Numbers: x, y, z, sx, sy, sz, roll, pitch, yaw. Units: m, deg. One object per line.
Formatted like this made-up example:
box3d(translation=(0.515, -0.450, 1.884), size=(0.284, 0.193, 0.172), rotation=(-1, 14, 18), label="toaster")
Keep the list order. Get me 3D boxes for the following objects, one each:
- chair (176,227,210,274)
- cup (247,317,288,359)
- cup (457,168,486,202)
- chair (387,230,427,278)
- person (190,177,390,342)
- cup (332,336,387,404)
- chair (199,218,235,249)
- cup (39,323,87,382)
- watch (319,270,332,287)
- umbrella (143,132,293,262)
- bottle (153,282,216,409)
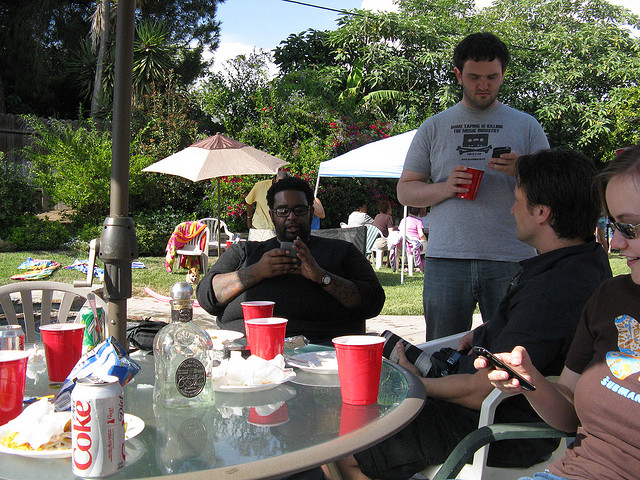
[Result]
box3d(translation=(-2.688, 0.161, 10.198), size=(0.777, 1.037, 0.845), rotation=(0, 0, 4), label="chair")
box3d(translation=(-0.207, 0.384, 1.962), size=(0.151, 0.122, 0.153), rotation=(2, -7, 0), label="cup")
box3d(translation=(0.923, -0.358, 3.095), size=(0.124, 0.193, 0.141), rotation=(10, 17, -18), label="cup")
box3d(translation=(1.935, 0.209, 11.023), size=(0.895, 0.963, 0.858), rotation=(-8, 20, -14), label="chair")
box3d(translation=(-0.200, 0.121, 3.148), size=(1.128, 0.984, 0.718), rotation=(-2, -6, 6), label="person")
box3d(translation=(0.130, 0.439, 1.693), size=(0.218, 0.199, 0.216), rotation=(0, -8, 0), label="cup")
box3d(translation=(-2.566, -0.216, 12.184), size=(0.895, 1.190, 0.891), rotation=(0, 1, -18), label="chair")
box3d(translation=(-0.911, 0.397, 1.771), size=(0.156, 0.166, 0.155), rotation=(-3, -9, -1), label="cup")
box3d(translation=(0.028, 0.218, 2.808), size=(0.057, 0.088, 0.079), rotation=(33, -26, -25), label="watch")
box3d(translation=(-1.657, -0.534, 7.941), size=(1.949, 2.021, 2.082), rotation=(-2, 13, -9), label="umbrella")
box3d(translation=(-0.431, 0.385, 1.593), size=(0.198, 0.293, 0.159), rotation=(1, 7, -19), label="bottle")
